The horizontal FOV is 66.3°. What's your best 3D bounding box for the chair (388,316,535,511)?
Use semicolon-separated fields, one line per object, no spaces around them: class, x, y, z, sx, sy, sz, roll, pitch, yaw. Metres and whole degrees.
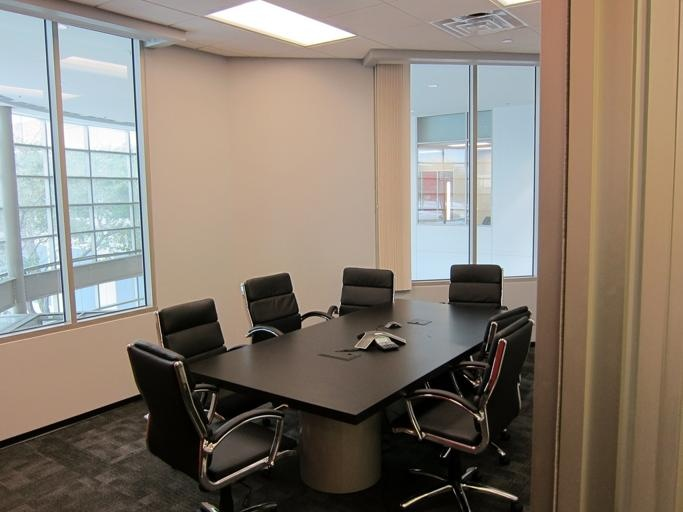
chair;0.799;1.027;3.406;0.800;1.244;0.582;1;9;19

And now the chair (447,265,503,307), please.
chair;1.506;0.317;5.576;0.418;0.591;0.509;1;-2;22

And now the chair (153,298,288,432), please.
chair;-0.898;0.758;4.238;0.892;1.064;0.875;1;4;31
